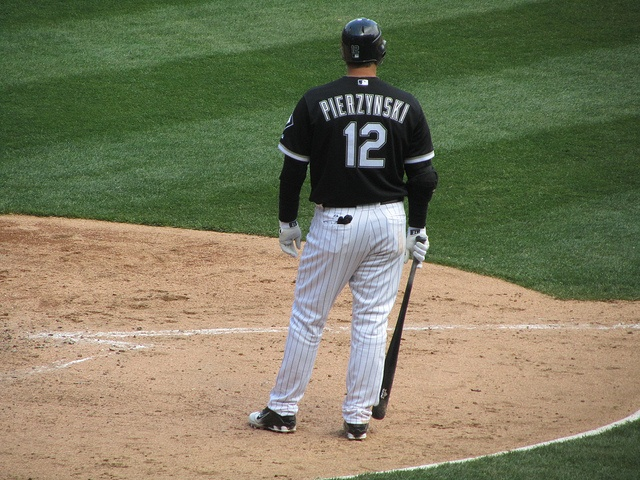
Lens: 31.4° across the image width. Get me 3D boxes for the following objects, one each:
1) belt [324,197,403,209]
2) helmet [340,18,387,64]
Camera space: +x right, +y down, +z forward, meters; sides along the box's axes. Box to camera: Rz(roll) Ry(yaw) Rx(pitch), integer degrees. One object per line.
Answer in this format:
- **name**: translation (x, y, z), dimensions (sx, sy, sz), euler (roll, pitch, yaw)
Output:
- **belt**: translation (0.437, -0.358, 11.134), dimensions (0.804, 0.109, 0.124), euler (0, 14, -12)
- **helmet**: translation (0.430, -1.942, 11.150), dimensions (0.423, 0.434, 0.212), euler (4, 15, -1)
